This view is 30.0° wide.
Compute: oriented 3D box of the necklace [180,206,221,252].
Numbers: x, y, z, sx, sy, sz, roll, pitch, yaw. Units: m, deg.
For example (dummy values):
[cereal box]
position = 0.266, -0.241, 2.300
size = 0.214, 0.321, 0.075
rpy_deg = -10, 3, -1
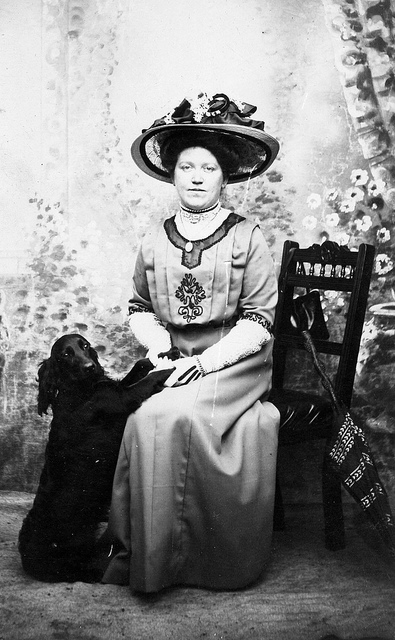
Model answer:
[necklace]
position = 0.014, -0.299, 2.461
size = 0.175, 0.009, 0.195
rpy_deg = 11, 64, 32

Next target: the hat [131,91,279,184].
[hat]
position = 0.067, -0.648, 2.552
size = 0.500, 0.163, 0.483
rpy_deg = -2, -14, 23

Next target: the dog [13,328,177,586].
[dog]
position = -0.341, 0.434, 2.320
size = 0.437, 0.668, 0.597
rpy_deg = 9, 32, 18

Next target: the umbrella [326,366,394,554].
[umbrella]
position = 0.603, 0.490, 2.673
size = 0.279, 0.624, 0.674
rpy_deg = 3, 31, 10
